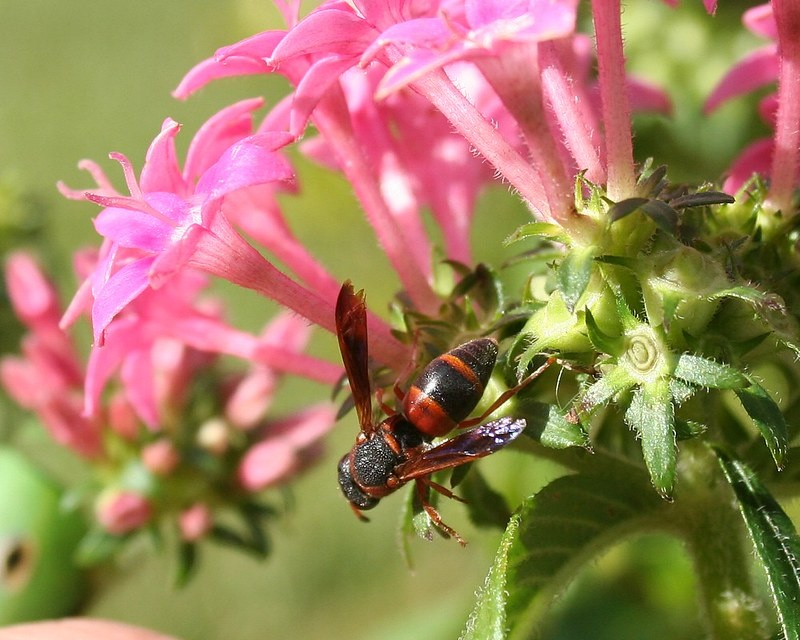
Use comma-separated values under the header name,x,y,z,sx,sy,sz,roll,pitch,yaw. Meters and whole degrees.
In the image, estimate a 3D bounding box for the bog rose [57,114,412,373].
name,x,y,z,sx,sy,sz,roll,pitch,yaw
bog rose,-0.243,-0.080,1.418,0.220,0.413,0.288,-65,12,0
